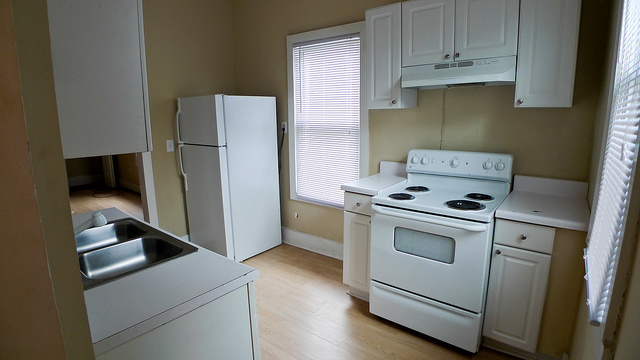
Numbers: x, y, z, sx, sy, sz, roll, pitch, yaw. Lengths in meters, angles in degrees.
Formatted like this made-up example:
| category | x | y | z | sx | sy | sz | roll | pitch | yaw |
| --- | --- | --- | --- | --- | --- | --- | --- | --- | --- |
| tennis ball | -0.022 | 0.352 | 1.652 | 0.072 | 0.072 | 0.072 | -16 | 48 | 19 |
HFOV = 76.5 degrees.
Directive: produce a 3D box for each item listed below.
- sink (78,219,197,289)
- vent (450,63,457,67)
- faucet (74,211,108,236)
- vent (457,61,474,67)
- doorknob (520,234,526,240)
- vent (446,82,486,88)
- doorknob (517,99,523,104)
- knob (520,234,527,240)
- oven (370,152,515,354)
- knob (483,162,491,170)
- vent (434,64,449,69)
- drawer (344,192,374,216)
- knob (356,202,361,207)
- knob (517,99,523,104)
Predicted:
| category | x | y | z | sx | sy | sz | roll | pitch | yaw |
| --- | --- | --- | --- | --- | --- | --- | --- | --- | --- |
| sink | -1.281 | 0.485 | 2.789 | 0.649 | 0.264 | 0.676 | -9 | 15 | -31 |
| vent | 1.129 | -0.968 | 3.405 | 0.050 | 0.030 | 0.027 | 3 | 12 | 29 |
| faucet | -1.496 | 0.280 | 2.636 | 0.171 | 0.116 | 0.234 | -9 | 15 | -30 |
| vent | 1.215 | -0.965 | 3.368 | 0.118 | 0.044 | 0.022 | 2 | 15 | 12 |
| doorknob | 1.560 | 0.435 | 3.096 | 0.036 | 0.024 | 0.034 | -2 | 17 | 5 |
| vent | 1.266 | -0.825 | 3.506 | 0.300 | 0.031 | 0.287 | 3 | 13 | 19 |
| doorknob | 1.622 | -0.637 | 3.275 | 0.033 | 0.020 | 0.029 | -6 | 6 | -38 |
| knob | 1.552 | 0.434 | 3.079 | 0.036 | 0.033 | 0.033 | 0 | -14 | 32 |
| oven | 1.029 | 0.543 | 3.595 | 0.978 | 1.484 | 0.819 | 8 | 17 | 32 |
| knob | 1.486 | -0.126 | 3.595 | 0.063 | 0.062 | 0.022 | 3 | 15 | 18 |
| vent | 1.042 | -0.968 | 3.453 | 0.118 | 0.037 | 0.017 | 8 | 17 | 34 |
| drawer | 0.372 | 0.212 | 3.770 | 0.226 | 0.128 | 0.221 | -4 | 8 | -42 |
| knob | 0.366 | 0.224 | 3.758 | 0.041 | 0.037 | 0.013 | 12 | 9 | 24 |
| knob | 1.621 | -0.640 | 3.275 | 0.029 | 0.020 | 0.031 | -17 | 17 | -38 |
